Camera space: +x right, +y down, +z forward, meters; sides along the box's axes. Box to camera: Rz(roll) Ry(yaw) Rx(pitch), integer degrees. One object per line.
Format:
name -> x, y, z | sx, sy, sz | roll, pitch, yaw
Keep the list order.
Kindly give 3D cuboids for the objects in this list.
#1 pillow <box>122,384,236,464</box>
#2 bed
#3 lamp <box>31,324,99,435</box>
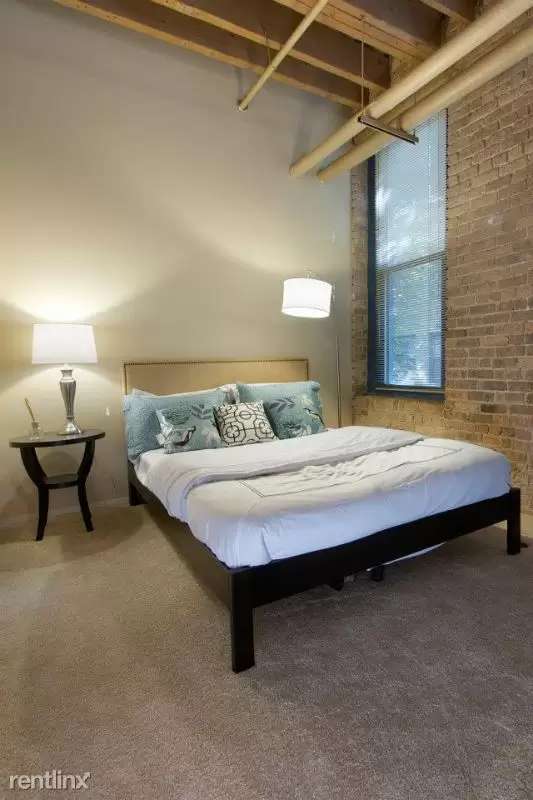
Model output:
pillow -> -0.626, 0.145, 3.611 | 0.521, 0.543, 0.157 | -7, -31, -12
bed -> -0.062, 0.490, 2.795 | 1.387, 0.924, 1.730 | -5, 7, -27
lamp -> -1.232, -0.134, 3.310 | 0.354, 0.649, 0.464 | -6, 10, -22
